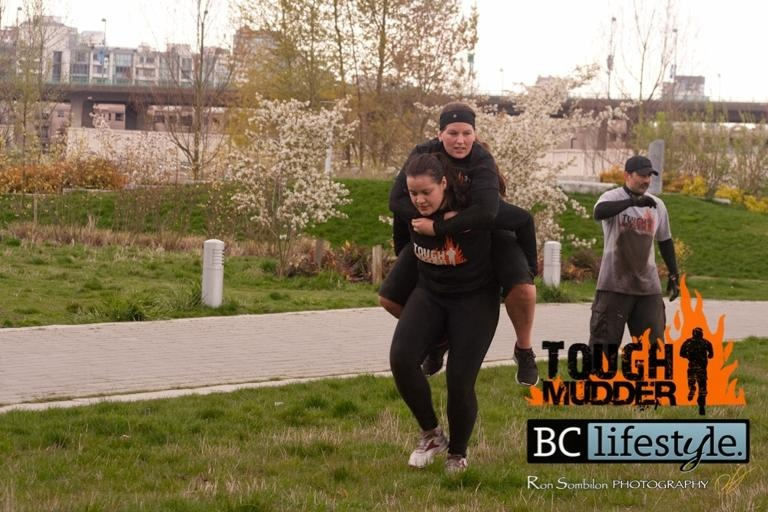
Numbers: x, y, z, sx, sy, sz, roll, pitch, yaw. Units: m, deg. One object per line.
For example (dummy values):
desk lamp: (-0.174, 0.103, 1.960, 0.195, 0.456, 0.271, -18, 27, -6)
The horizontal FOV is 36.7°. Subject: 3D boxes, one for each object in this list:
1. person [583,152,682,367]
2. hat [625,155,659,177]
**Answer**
person: (4.424, -0.031, 20.572, 1.480, 3.372, 0.921, 6, 12, 8)
hat: (4.524, -1.592, 20.656, 0.370, 0.263, 0.487, -1, 2, -39)
